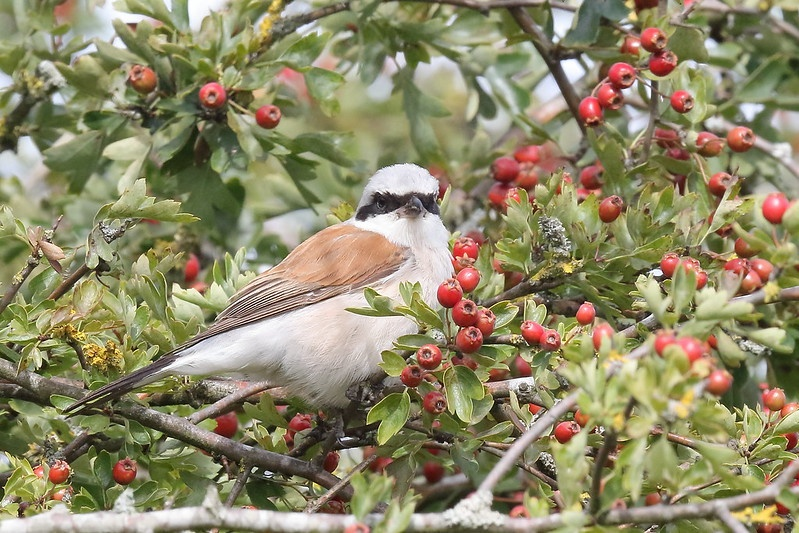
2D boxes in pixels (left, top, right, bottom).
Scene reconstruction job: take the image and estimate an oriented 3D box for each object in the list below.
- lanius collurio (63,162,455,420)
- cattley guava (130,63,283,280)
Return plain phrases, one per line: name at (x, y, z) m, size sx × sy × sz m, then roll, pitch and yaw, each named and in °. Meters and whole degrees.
lanius collurio at (-0.612, 0.209, 5.774) m, size 2.784 × 1.614 × 0.917 m, roll -11°, pitch -6°, yaw -14°
cattley guava at (-0.998, -0.588, 5.088) m, size 0.366 × 1.021 × 0.455 m, roll 1°, pitch 2°, yaw 11°
